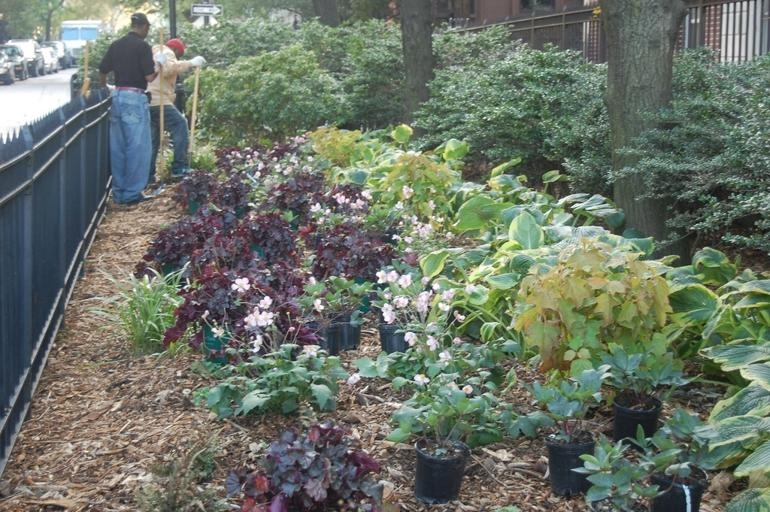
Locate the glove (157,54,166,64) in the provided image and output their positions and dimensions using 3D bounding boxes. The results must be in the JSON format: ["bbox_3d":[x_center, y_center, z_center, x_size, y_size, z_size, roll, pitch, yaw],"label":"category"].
[{"bbox_3d":[-3.239,-2.843,12.454,0.117,0.090,0.153,19,27,-6],"label":"glove"}]

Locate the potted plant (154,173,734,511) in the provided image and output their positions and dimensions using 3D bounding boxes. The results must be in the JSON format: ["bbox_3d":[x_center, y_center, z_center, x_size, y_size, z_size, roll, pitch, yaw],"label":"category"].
[{"bbox_3d":[0.425,0.793,7.068,3.205,0.981,2.927,-4,38,-6],"label":"potted plant"}]
